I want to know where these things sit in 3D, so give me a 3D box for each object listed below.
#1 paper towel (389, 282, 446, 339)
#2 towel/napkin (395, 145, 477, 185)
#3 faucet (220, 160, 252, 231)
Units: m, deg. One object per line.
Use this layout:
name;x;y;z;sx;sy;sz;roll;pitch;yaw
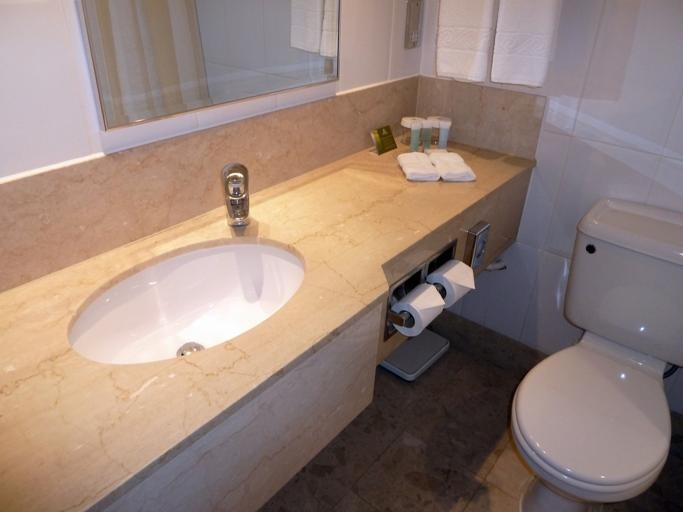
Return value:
paper towel;0.239;0.161;1.460;0.115;0.130;0.206;23;40;33
towel/napkin;0.364;-0.357;1.865;0.274;0.061;0.257;-5;33;-6
faucet;-0.312;-0.180;1.415;0.078;0.196;0.057;-9;32;-12
